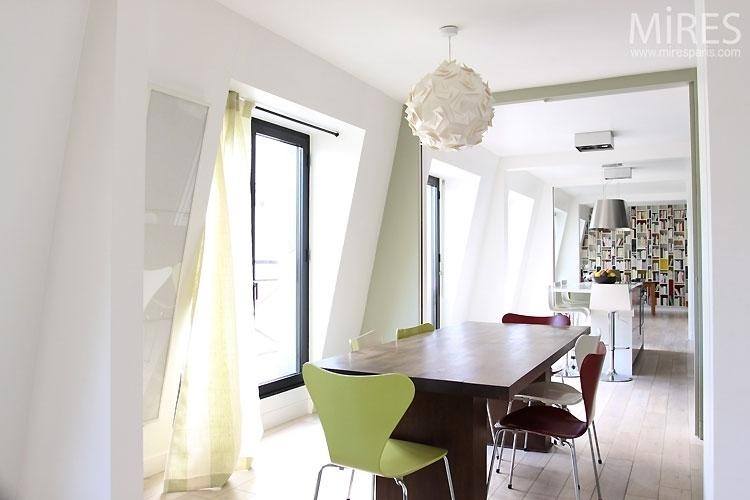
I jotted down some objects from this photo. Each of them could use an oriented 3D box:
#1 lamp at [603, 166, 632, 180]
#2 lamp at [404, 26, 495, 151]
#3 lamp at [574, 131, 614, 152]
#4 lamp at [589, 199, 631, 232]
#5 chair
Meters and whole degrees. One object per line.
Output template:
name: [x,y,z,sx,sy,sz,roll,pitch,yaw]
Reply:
lamp: [3.768,-1.229,8.154,0.386,0.193,0.297,3,0,24]
lamp: [0.366,-0.916,3.153,0.510,0.694,0.504,1,4,44]
lamp: [2.749,-1.382,6.579,0.434,0.246,0.410,3,0,25]
lamp: [3.578,-0.550,7.951,0.530,0.468,0.851,3,0,25]
chair: [0.608,0.945,3.115,1.370,1.044,1.658,3,0,26]
